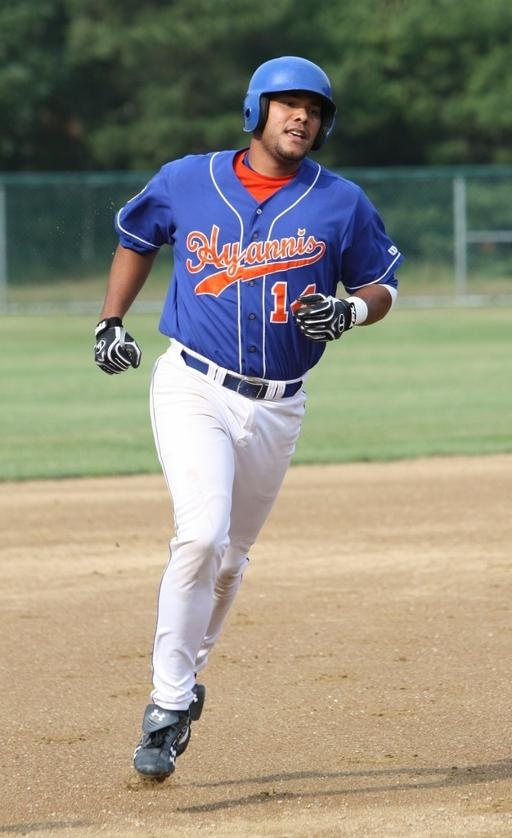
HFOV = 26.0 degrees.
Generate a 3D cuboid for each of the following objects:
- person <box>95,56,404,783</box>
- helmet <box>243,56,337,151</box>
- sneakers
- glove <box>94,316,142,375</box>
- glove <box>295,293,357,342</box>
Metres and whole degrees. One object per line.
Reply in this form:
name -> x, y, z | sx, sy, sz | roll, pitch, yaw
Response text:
person -> 0.009, -0.049, 2.956 | 0.857, 1.854, 0.753 | -1, 9, -8
helmet -> 0.112, -0.916, 3.131 | 0.252, 0.214, 0.296 | 6, -10, -17
sneakers -> -0.215, 0.780, 2.827 | 0.098, 0.117, 0.275 | 29, 24, -5
glove -> -0.393, -0.200, 3.058 | 0.079, 0.125, 0.154 | 9, 28, -45
glove -> 0.166, -0.263, 2.840 | 0.146, 0.101, 0.065 | -1, 36, 44
